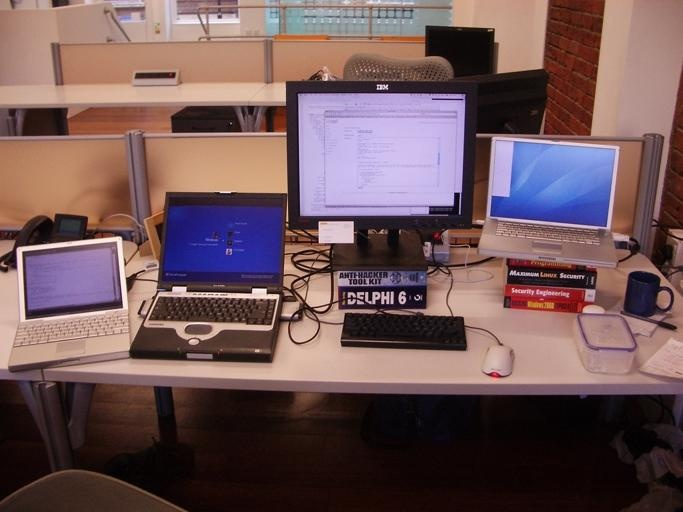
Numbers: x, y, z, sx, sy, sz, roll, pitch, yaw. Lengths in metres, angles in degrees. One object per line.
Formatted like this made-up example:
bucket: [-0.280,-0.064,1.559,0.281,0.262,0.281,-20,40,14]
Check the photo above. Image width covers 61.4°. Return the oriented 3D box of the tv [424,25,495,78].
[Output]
tv: [0.872,-1.500,4.336,0.608,0.421,0.154,-8,19,-20]

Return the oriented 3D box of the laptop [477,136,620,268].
laptop: [0.692,-0.183,1.893,0.498,0.296,0.470,-1,23,-5]

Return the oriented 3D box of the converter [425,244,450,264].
converter: [0.356,-0.016,2.114,0.083,0.054,0.077,0,26,4]

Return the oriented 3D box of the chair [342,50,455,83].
chair: [0.301,-1.037,3.148,0.595,0.135,0.139,3,23,7]

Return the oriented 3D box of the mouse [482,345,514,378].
mouse: [0.456,0.287,1.669,0.083,0.047,0.146,3,28,22]

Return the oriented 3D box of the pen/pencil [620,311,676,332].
pen/pencil: [0.970,0.209,1.833,0.142,0.016,0.017,18,13,22]

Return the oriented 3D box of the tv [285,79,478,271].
tv: [0.118,-0.265,1.963,0.646,0.614,0.342,-1,4,-10]

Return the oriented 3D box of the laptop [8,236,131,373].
laptop: [-0.844,0.206,1.848,0.375,0.277,0.402,-5,35,-12]

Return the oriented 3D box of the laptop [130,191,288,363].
laptop: [-0.400,0.124,1.904,0.481,0.354,0.513,1,39,3]

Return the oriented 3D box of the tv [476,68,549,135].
tv: [0.705,-0.570,2.438,0.329,0.326,0.116,-7,49,13]

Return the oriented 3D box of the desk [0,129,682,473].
desk: [-0.014,0.251,2.044,2.404,1.199,0.885,0,23,2]
